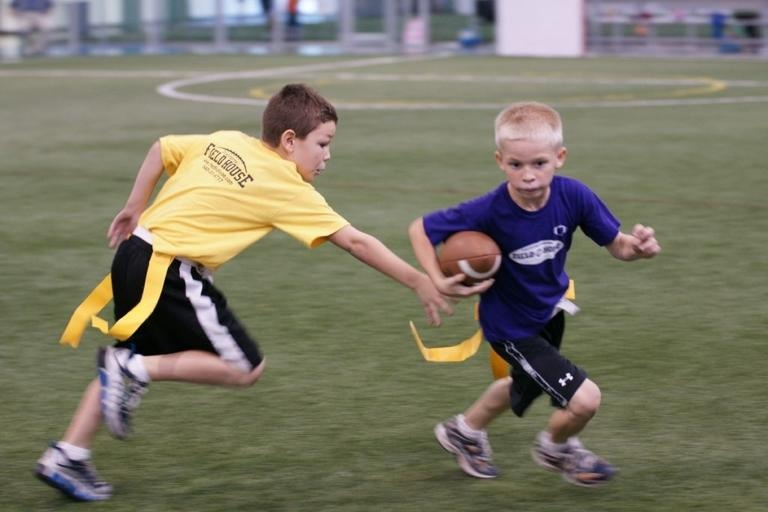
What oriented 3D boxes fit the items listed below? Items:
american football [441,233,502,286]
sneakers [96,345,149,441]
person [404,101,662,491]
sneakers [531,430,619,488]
[{"bbox_3d":[0.507,-0.008,8.072,0.410,0.217,0.306,-9,8,17],"label":"american football"},{"bbox_3d":[-1.485,0.778,7.950,0.350,0.504,0.230,-3,-4,16],"label":"sneakers"},{"bbox_3d":[0.813,0.224,8.021,1.224,2.169,0.637,-4,16,1],"label":"person"},{"bbox_3d":[1.097,1.158,8.070,0.568,0.179,0.247,8,31,20],"label":"sneakers"}]
